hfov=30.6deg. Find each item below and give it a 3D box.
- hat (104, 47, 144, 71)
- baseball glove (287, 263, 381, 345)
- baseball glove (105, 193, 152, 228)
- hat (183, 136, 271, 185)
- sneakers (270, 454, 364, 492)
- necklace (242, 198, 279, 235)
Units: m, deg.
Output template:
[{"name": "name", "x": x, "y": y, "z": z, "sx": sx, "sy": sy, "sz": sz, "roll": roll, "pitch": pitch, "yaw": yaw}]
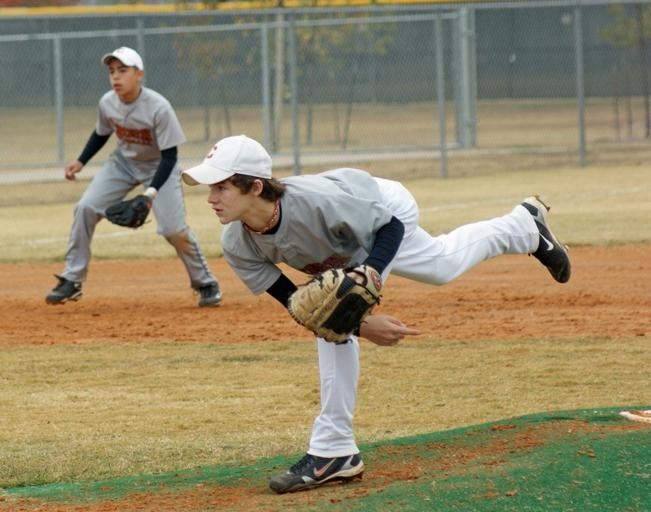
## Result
[{"name": "hat", "x": -1.675, "y": -1.628, "z": 9.826, "sx": 0.302, "sy": 0.200, "sz": 0.463, "roll": -4, "pitch": 9, "yaw": -5}, {"name": "baseball glove", "x": 0.100, "y": 0.299, "z": 7.210, "sx": 0.418, "sy": 0.237, "sz": 0.543, "roll": -43, "pitch": 14, "yaw": -29}, {"name": "baseball glove", "x": -1.605, "y": -0.348, "z": 9.551, "sx": 0.325, "sy": 0.153, "sz": 0.241, "roll": -5, "pitch": 40, "yaw": 50}, {"name": "hat", "x": -0.609, "y": -0.608, "z": 7.409, "sx": 0.627, "sy": 0.313, "sz": 0.377, "roll": -2, "pitch": 11, "yaw": -23}, {"name": "sneakers", "x": -0.041, "y": 1.350, "z": 7.524, "sx": 0.636, "sy": 0.253, "sz": 0.212, "roll": -4, "pitch": -2, "yaw": -12}, {"name": "necklace", "x": -0.383, "y": -0.238, "z": 7.358, "sx": 0.224, "sy": 0.201, "sz": 0.051, "roll": -1, "pitch": 10, "yaw": 15}]
